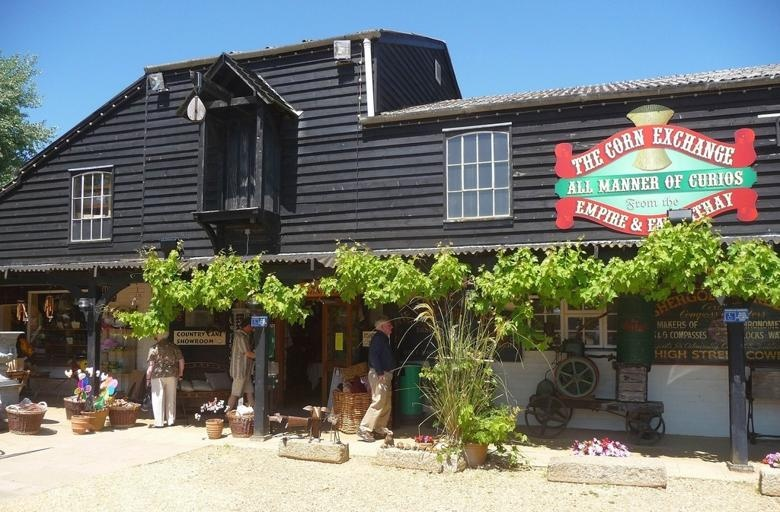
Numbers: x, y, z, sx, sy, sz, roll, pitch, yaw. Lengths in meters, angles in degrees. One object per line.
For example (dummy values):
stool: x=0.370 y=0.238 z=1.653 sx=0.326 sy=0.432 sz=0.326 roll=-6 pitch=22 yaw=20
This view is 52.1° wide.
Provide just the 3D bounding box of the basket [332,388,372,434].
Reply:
basket: x=-0.875 y=3.465 z=17.771 sx=0.920 sy=0.660 sz=0.793 roll=2 pitch=-6 yaw=-2

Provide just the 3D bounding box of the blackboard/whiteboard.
blackboard/whiteboard: x=6.872 y=1.425 z=16.643 sx=2.064 sy=1.152 sz=0.073 roll=0 pitch=2 yaw=13

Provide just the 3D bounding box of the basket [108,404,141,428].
basket: x=-6.096 y=3.652 z=18.201 sx=0.556 sy=0.381 sz=0.553 roll=11 pitch=-18 yaw=-40

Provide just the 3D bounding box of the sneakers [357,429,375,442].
sneakers: x=-0.520 y=3.842 z=17.062 sx=0.426 sy=0.190 sz=0.167 roll=1 pitch=-5 yaw=20

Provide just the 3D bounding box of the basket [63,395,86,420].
basket: x=-7.328 y=3.477 z=18.458 sx=0.571 sy=0.408 sz=0.558 roll=1 pitch=-12 yaw=-6

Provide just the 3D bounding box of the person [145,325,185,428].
person: x=-5.201 y=2.757 z=18.446 sx=0.782 sy=2.283 sz=0.749 roll=-5 pitch=11 yaw=-23

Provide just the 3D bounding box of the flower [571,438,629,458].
flower: x=4.062 y=3.695 z=15.394 sx=1.058 sy=0.254 sz=0.714 roll=1 pitch=10 yaw=8

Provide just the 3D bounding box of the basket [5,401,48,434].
basket: x=-8.071 y=3.560 z=17.599 sx=0.746 sy=0.547 sz=0.759 roll=3 pitch=-12 yaw=-12

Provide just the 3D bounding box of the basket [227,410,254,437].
basket: x=-3.275 y=3.668 z=17.367 sx=0.526 sy=0.408 sz=0.529 roll=1 pitch=-12 yaw=-5

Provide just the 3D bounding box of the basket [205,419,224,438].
basket: x=-3.848 y=3.744 z=17.436 sx=0.354 sy=0.378 sz=0.413 roll=-3 pitch=10 yaw=-15

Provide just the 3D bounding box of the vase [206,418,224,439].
vase: x=-3.831 y=3.756 z=17.400 sx=0.391 sy=0.301 sz=0.390 roll=-2 pitch=-8 yaw=14
